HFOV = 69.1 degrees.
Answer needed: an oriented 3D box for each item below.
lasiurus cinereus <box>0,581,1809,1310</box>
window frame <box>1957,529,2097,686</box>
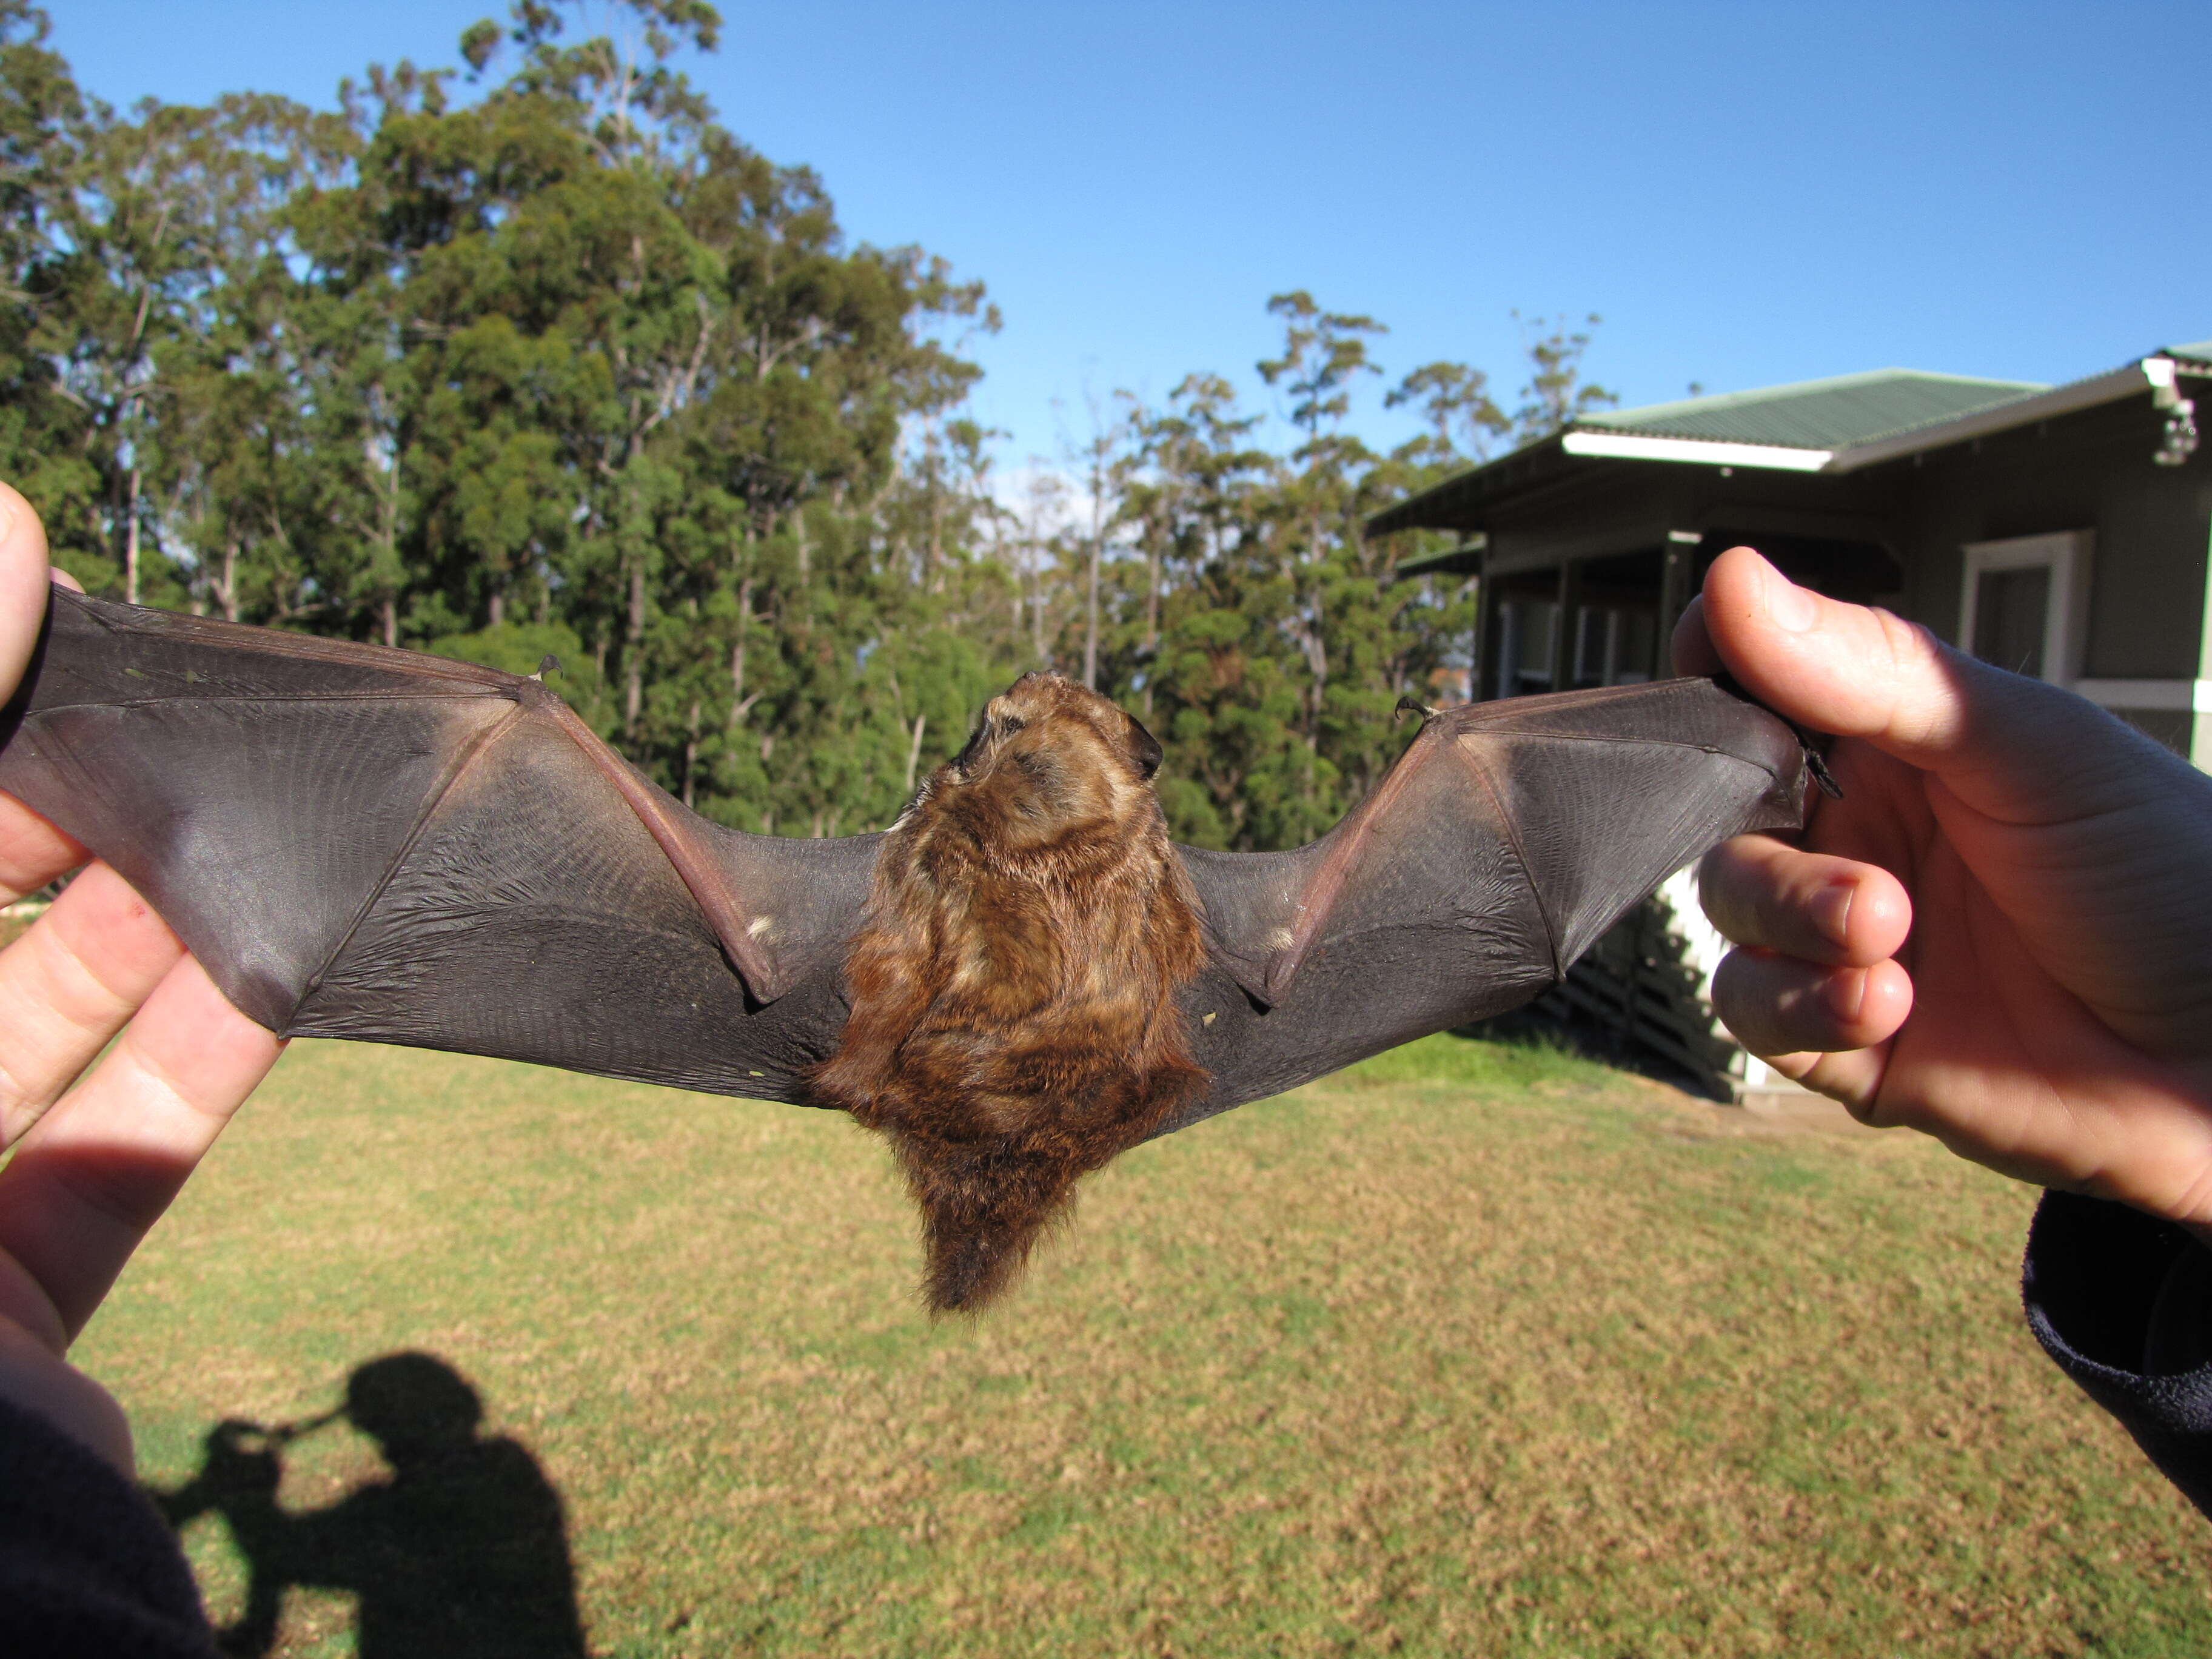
[{"bbox_3d":[-0.275,0.129,3.895,3.881,1.438,1.456,-3,11,-15],"label":"lasiurus cinereus"},{"bbox_3d":[6.407,-1.544,11.328,0.882,0.970,0.147,-5,0,-17],"label":"window frame"}]
